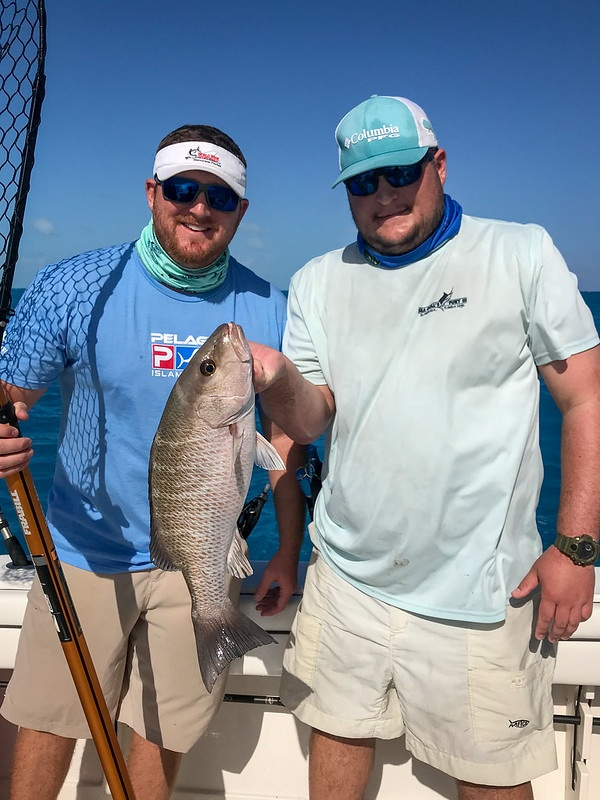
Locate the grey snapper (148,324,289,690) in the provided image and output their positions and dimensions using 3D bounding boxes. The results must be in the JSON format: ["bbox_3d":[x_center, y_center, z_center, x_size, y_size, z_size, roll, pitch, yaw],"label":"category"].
[{"bbox_3d":[-0.250,0.343,2.736,0.418,1.171,0.362,-6,12,-22],"label":"grey snapper"}]

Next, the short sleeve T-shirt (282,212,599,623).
[{"bbox_3d":[0.456,0.059,3.013,0.983,1.355,0.490,6,13,37],"label":"short sleeve T-shirt"}]

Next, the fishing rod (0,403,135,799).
[{"bbox_3d":[-0.849,0.786,3.126,0.127,1.755,0.101,-16,2,43],"label":"fishing rod"}]

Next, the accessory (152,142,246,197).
[{"bbox_3d":[-0.369,-0.890,3.237,0.348,0.135,0.351,-5,-16,-14],"label":"accessory"}]

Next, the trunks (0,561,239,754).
[{"bbox_3d":[-0.670,0.947,3.116,0.828,0.666,0.442,20,-20,-7],"label":"trunks"}]
